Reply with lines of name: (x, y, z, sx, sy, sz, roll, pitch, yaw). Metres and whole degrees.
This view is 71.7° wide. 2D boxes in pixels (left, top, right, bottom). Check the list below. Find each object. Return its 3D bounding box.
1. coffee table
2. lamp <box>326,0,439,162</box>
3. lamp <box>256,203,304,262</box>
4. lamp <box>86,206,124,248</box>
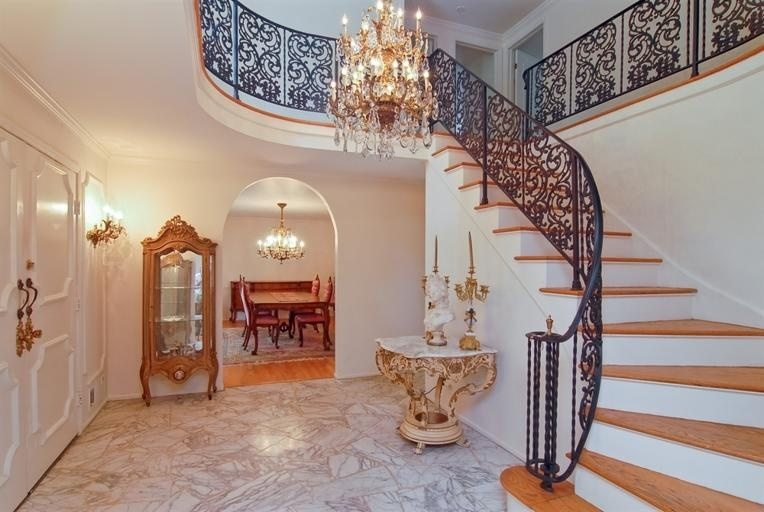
coffee table: (0.489, 1.402, 5.905, 1.140, 1.065, 1.143, 0, 1, -19)
lamp: (-0.018, -1.660, 4.955, 0.966, 1.455, 0.443, 2, 10, 8)
lamp: (-2.249, -0.470, 12.067, 1.150, 1.574, 1.205, 0, -4, -2)
lamp: (-3.306, -0.320, 6.322, 0.409, 0.392, 0.392, 7, 3, 36)
